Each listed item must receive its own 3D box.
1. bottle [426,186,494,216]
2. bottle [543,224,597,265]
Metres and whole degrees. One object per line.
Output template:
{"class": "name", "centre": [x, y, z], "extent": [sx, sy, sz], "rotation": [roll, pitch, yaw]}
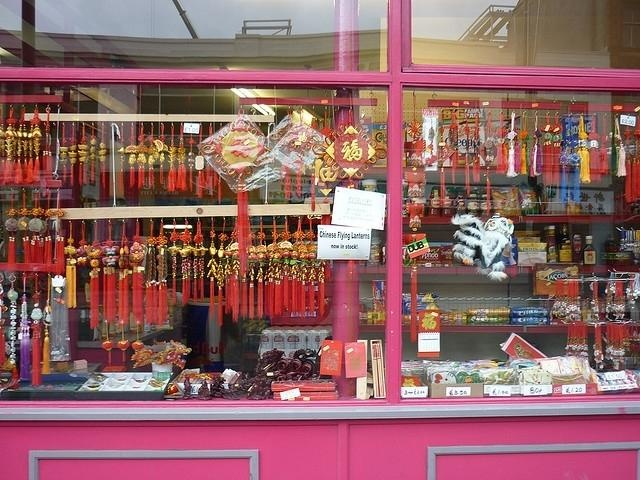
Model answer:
{"class": "bottle", "centre": [0.809, -0.221, 5.873], "extent": [0.339, 0.182, 0.226], "rotation": [-1, 5, -7]}
{"class": "bottle", "centre": [1.515, 0.045, 6.058], "extent": [0.246, 0.231, 0.087], "rotation": [0, -3, -6]}
